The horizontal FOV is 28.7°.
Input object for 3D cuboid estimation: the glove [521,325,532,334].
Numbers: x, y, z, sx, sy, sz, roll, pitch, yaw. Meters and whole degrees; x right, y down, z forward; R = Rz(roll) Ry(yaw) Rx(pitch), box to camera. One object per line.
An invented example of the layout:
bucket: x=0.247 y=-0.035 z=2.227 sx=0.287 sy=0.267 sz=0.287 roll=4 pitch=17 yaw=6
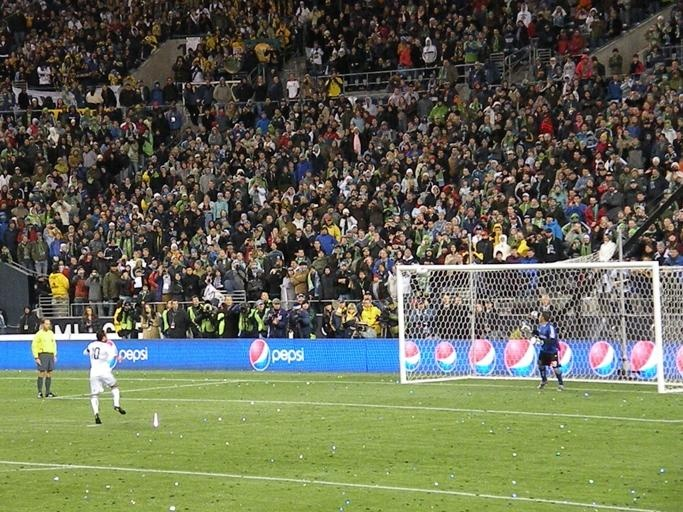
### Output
glove: x=5.471 y=2.065 z=38.854 sx=0.222 sy=0.080 sz=0.228 roll=17 pitch=-14 yaw=11

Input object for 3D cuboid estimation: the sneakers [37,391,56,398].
sneakers: x=-8.806 y=4.060 z=39.384 sx=0.598 sy=0.272 sz=0.218 roll=0 pitch=0 yaw=0

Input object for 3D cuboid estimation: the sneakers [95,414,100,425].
sneakers: x=-6.349 y=4.133 z=34.514 sx=0.155 sy=0.252 sz=0.412 roll=-3 pitch=7 yaw=-11
